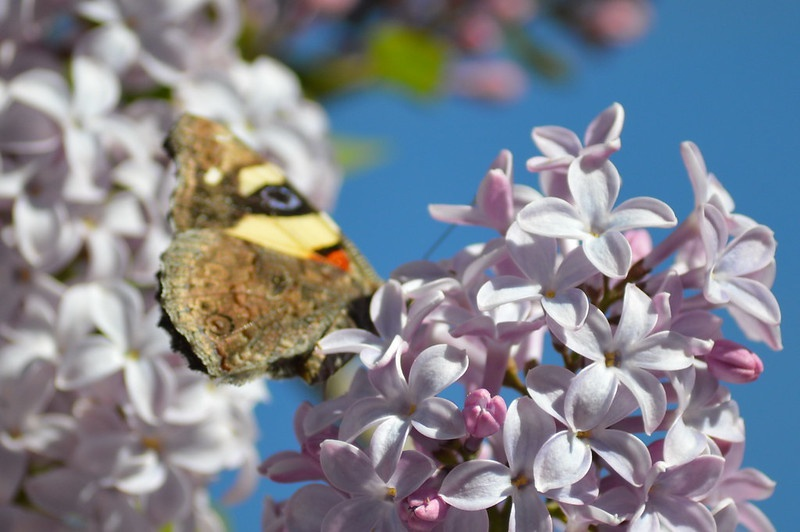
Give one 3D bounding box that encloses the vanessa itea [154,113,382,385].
[{"bbox_3d":[-0.203,0.011,1.676,0.266,0.311,0.516,23,8,-23],"label":"vanessa itea"}]
